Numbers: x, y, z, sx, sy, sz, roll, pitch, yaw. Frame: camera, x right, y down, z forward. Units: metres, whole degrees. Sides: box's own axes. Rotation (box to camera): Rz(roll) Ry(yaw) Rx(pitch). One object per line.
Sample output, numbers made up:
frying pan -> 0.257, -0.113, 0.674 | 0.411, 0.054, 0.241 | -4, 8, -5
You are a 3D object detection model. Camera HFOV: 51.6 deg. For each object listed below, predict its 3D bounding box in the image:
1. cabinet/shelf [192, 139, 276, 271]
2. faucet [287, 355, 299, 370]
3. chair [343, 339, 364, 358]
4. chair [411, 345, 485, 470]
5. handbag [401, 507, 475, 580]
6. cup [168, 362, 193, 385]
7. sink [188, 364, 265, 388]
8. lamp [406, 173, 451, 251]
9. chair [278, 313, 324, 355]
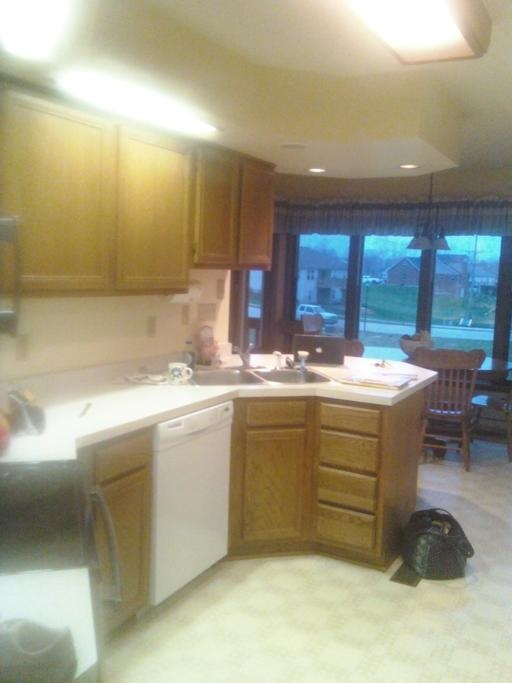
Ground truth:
cabinet/shelf -> -0.149, -0.797, 3.034 | 0.263, 0.582, 0.689 | 2, 5, 28
faucet -> 0.215, 0.124, 3.262 | 0.037, 0.048, 0.121 | -1, 11, -2
chair -> 0.862, 0.049, 4.781 | 0.184, 0.194, 0.233 | 7, 4, 2
chair -> 1.569, 0.512, 4.414 | 0.530, 0.952, 1.097 | 5, 6, 22
handbag -> 0.897, 1.017, 2.698 | 0.318, 0.246, 0.313 | 2, 5, -3
cup -> -0.389, 0.166, 2.748 | 0.129, 0.126, 0.081 | 2, -1, -5
sink -> -0.166, 0.207, 3.061 | 0.414, 0.087, 0.227 | 3, 5, 2
lamp -> 1.698, -1.285, 5.201 | 0.362, 0.807, 0.717 | 4, 5, 15
chair -> 0.401, -0.110, 5.625 | 0.372, 0.451, 0.643 | 0, -8, 2
